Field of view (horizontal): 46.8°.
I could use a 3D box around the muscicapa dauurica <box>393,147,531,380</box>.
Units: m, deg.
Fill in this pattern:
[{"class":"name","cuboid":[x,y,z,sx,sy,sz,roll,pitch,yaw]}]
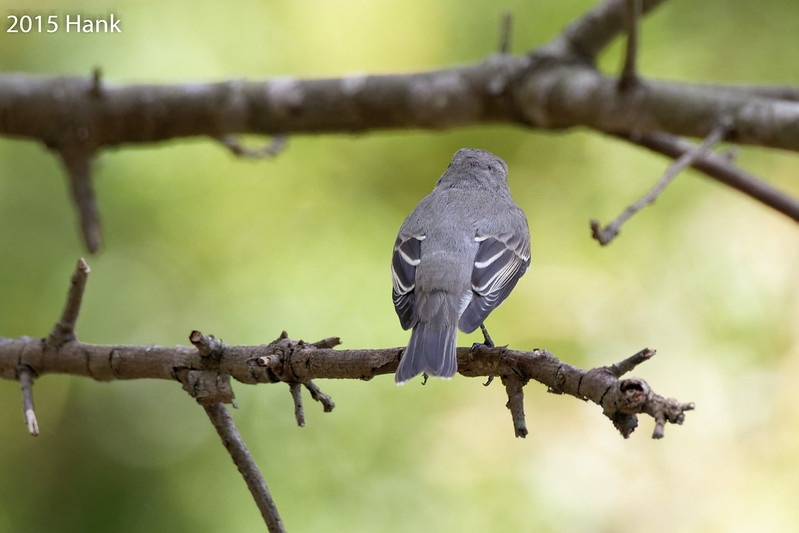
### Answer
[{"class":"muscicapa dauurica","cuboid":[0.228,0.017,3.593,0.523,1.106,0.899,4,-79,15]}]
